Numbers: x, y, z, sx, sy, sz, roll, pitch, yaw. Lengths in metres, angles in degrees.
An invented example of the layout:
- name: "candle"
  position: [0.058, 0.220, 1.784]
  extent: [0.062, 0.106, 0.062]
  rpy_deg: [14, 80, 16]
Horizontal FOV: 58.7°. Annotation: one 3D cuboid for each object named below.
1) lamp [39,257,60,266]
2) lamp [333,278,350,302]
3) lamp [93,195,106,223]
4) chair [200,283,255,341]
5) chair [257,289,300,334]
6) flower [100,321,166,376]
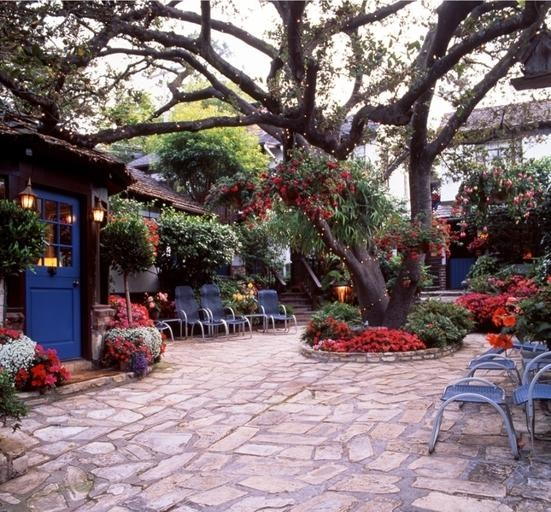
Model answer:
- name: "lamp"
  position: [-3.152, 0.079, 6.940]
  extent: [0.108, 0.119, 0.110]
  rpy_deg: [2, 7, -1]
- name: "lamp"
  position: [2.166, 1.156, 15.782]
  extent: [0.584, 0.612, 0.578]
  rpy_deg: [0, -5, -3]
- name: "lamp"
  position: [-2.747, -0.737, 7.783]
  extent: [0.188, 0.439, 0.534]
  rpy_deg: [-2, -2, -13]
- name: "chair"
  position: [-1.212, 1.301, 12.212]
  extent: [1.454, 1.667, 1.071]
  rpy_deg: [-6, -6, 42]
- name: "chair"
  position: [0.084, 1.455, 13.743]
  extent: [0.944, 1.446, 1.264]
  rpy_deg: [2, -7, -32]
- name: "flower"
  position: [-2.222, 1.444, 7.646]
  extent: [0.772, 0.651, 0.975]
  rpy_deg: [-2, -2, 3]
